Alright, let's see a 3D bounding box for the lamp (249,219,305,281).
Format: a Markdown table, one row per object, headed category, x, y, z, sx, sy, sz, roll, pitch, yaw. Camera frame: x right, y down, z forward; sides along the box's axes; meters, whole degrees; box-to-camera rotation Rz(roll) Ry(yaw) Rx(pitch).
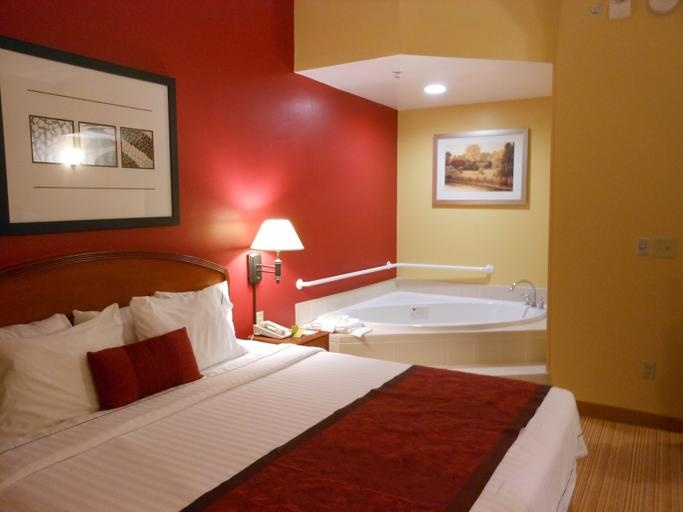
| category | x | y | z | sx | sy | sz | roll | pitch | yaw |
| --- | --- | --- | --- | --- | --- | --- | --- | --- | --- |
| lamp | -0.560 | -0.046 | 4.105 | 0.482 | 0.552 | 0.466 | 1 | -2 | -39 |
